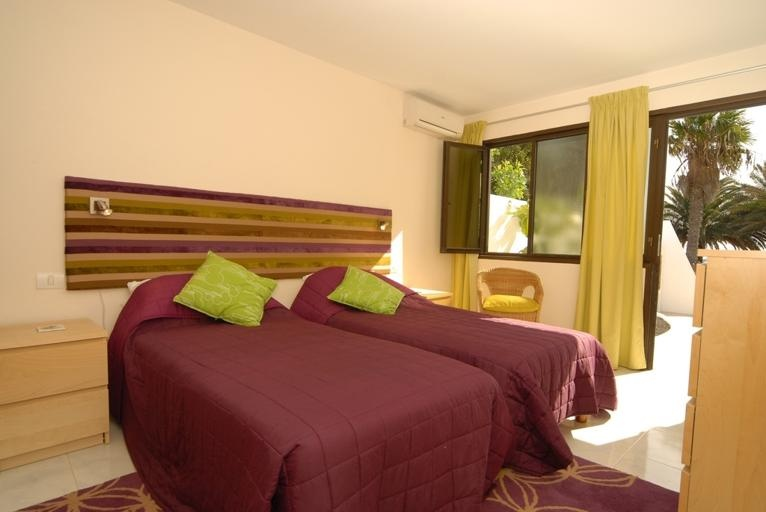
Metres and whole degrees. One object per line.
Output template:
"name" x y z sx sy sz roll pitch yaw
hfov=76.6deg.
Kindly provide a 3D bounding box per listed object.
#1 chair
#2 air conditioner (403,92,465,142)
"chair" 1.457 0.594 5.661 0.743 0.792 0.612 -1 11 -3
"air conditioner" 0.629 -1.781 6.198 0.937 0.406 0.199 -2 6 -45
